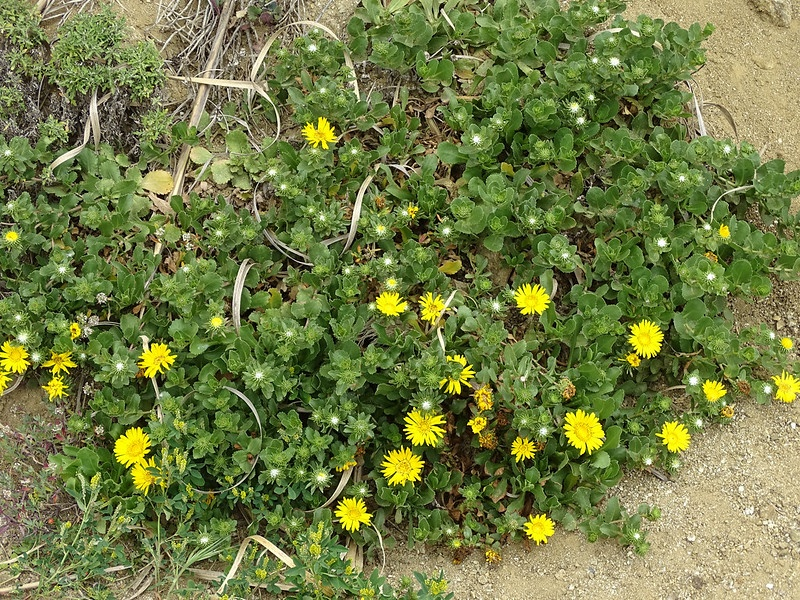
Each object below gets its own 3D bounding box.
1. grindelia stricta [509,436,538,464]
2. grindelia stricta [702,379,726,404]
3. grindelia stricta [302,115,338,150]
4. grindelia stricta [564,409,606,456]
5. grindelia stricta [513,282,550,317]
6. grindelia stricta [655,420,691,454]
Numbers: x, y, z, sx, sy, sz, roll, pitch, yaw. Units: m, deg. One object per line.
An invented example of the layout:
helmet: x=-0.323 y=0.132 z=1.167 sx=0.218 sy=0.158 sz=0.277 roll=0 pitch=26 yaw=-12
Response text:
grindelia stricta: x=0.654 y=0.783 z=3.727 sx=0.131 sy=0.045 sz=0.132 roll=37 pitch=95 yaw=-4
grindelia stricta: x=1.720 y=0.495 z=3.870 sx=0.145 sy=0.075 sz=0.124 roll=-3 pitch=66 yaw=-14
grindelia stricta: x=-0.461 y=-0.948 z=4.052 sx=0.186 sy=0.077 sz=0.205 roll=13 pitch=84 yaw=0
grindelia stricta: x=0.962 y=0.680 z=3.706 sx=0.179 sy=0.100 sz=0.219 roll=-22 pitch=72 yaw=-21
grindelia stricta: x=0.725 y=-0.005 z=3.870 sx=0.165 sy=0.066 sz=0.176 roll=13 pitch=78 yaw=11
grindelia stricta: x=1.490 y=0.740 z=3.836 sx=0.183 sy=0.116 sz=0.153 roll=-9 pitch=67 yaw=-16
